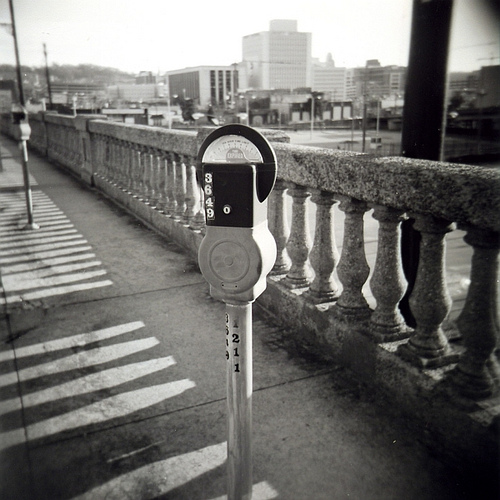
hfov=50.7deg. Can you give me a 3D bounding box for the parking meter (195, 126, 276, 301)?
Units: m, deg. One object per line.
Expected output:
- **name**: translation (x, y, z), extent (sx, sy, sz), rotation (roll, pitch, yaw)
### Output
- **parking meter**: translation (-0.058, -0.161, 2.202), extent (0.257, 0.735, 0.208), rotation (7, 22, 17)

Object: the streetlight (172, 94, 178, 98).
- **streetlight**: translation (-16.319, -33.618, 115.189), extent (0.946, 0.794, 0.983), rotation (-4, 12, -23)

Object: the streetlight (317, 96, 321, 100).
- **streetlight**: translation (17.304, -38.002, 132.301), extent (0.843, 0.866, 2.629), rotation (1, 16, 9)

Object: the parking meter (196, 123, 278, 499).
- **parking meter**: translation (-0.047, 0.283, 2.236), extent (0.326, 1.592, 0.306), rotation (-1, 13, -2)
